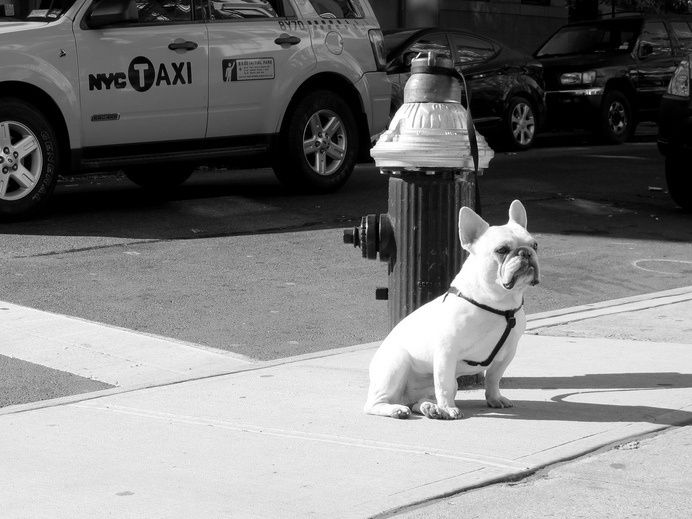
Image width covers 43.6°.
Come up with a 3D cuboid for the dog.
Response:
[{"bbox_3d":[0.465,0.250,3.922,0.749,0.972,0.343,1,16,4],"label":"dog"}]
